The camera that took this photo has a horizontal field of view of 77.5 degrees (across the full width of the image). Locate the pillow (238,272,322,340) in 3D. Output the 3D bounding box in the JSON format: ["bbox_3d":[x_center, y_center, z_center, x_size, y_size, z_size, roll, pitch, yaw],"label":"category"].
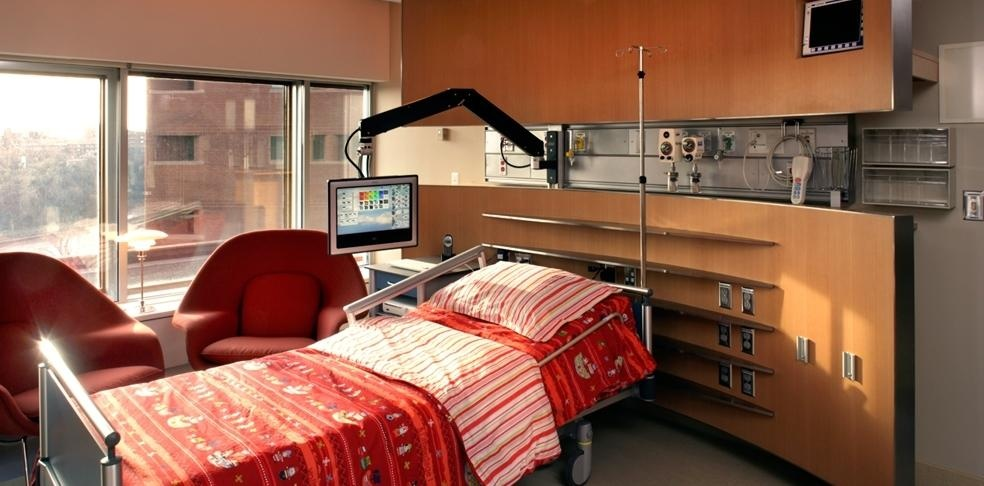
[{"bbox_3d":[-2.193,0.628,6.219,0.772,0.636,0.169,3,-4,-8],"label":"pillow"}]

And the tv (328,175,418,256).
[{"bbox_3d":[-1.134,-0.271,5.783,0.904,0.636,0.085,-1,3,-27],"label":"tv"}]
